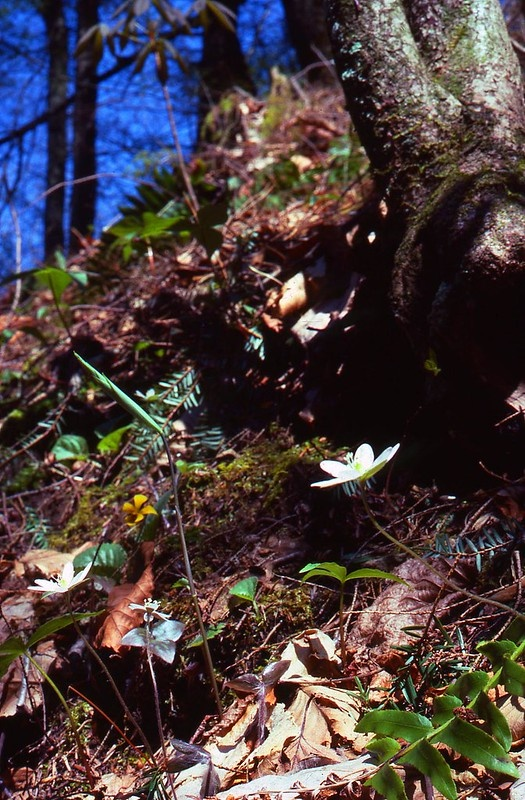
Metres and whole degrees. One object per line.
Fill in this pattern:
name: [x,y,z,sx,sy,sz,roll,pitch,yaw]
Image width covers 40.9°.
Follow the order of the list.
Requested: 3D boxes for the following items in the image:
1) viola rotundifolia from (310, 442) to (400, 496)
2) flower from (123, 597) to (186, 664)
viola rotundifolia: [0.274,0.207,2.040,0.175,0.064,0.143,-28,-14,-4]
flower: [-0.309,0.656,1.977,0.144,0.176,0.177,27,64,8]
